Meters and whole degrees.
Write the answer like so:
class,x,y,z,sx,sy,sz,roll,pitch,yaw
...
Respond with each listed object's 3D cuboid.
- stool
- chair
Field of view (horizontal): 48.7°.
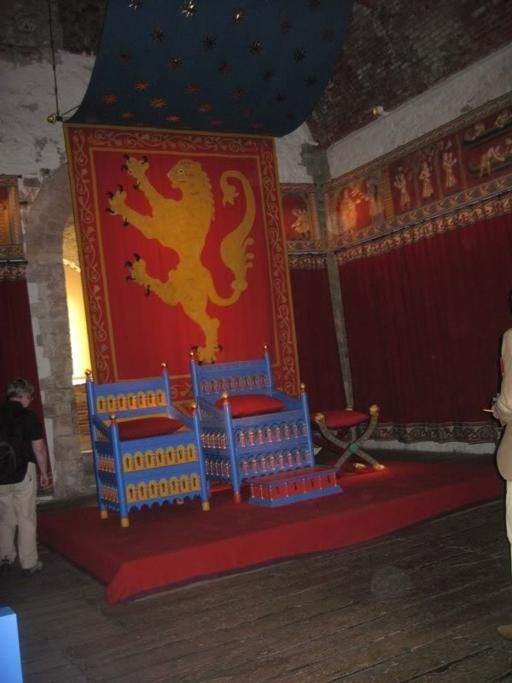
class,x,y,z,sx,sy,sz,roll,pitch,yaw
stool,1.088,1.088,5.884,0.725,0.609,0.675,-17,-29,27
chair,-0.292,0.718,5.552,1.714,2.180,1.376,-3,-7,-29
